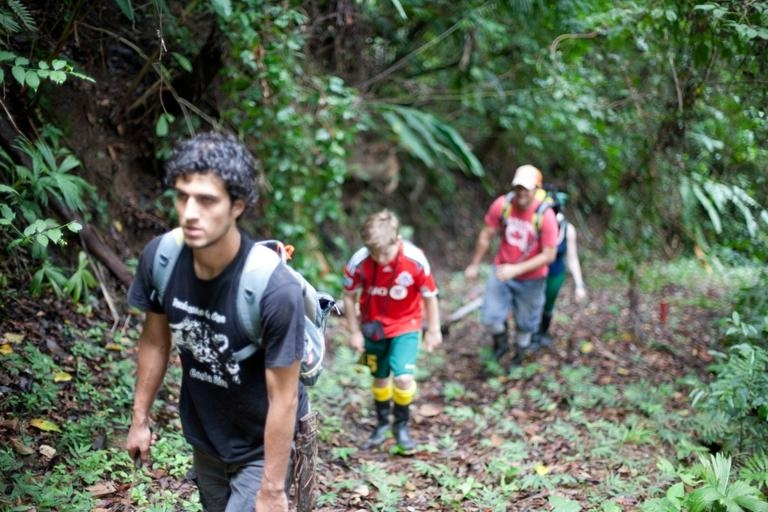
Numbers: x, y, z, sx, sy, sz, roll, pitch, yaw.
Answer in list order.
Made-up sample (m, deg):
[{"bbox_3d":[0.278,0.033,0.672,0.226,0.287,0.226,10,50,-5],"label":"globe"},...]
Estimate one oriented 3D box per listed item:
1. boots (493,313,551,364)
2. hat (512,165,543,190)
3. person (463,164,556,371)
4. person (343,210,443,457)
[{"bbox_3d":[1.611,0.873,7.580,0.436,0.663,0.239,16,5,14],"label":"boots"},{"bbox_3d":[1.451,-0.785,6.769,0.268,0.243,0.227,3,11,10],"label":"hat"},{"bbox_3d":[1.343,0.191,7.256,0.888,2.466,0.836,1,26,2],"label":"person"},{"bbox_3d":[0.079,0.782,6.706,0.957,2.625,0.802,5,19,18],"label":"person"}]
